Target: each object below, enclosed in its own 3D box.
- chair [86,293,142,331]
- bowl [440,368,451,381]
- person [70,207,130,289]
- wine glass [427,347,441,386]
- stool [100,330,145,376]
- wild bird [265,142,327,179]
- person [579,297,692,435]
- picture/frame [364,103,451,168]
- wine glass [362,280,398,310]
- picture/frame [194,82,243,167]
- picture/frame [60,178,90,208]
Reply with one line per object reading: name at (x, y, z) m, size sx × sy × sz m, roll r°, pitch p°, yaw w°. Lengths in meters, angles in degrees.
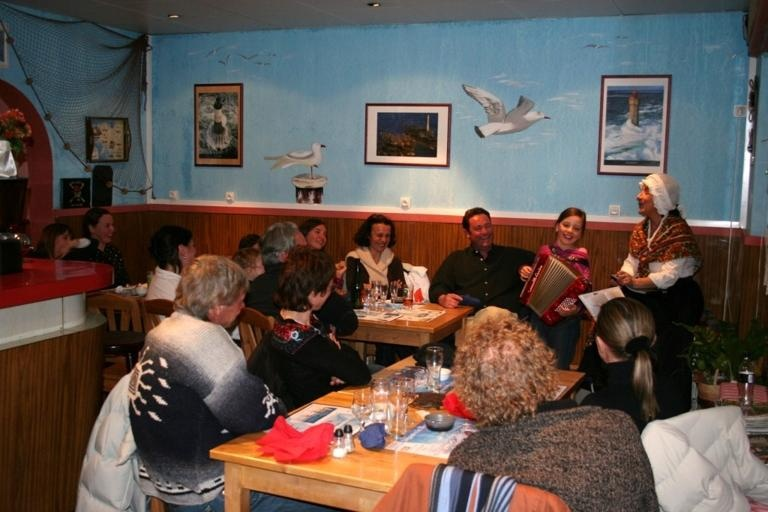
chair at (-2.202, 0.450, 4.773) m, size 0.308 × 0.439 × 0.316 m, roll 4°, pitch 11°, yaw 11°
bowl at (0.358, 0.688, 3.376) m, size 0.078 × 0.038 × 0.078 m, roll 0°, pitch -2°, yaw 0°
person at (-2.931, -0.083, 5.977) m, size 0.516 × 0.801 × 0.342 m, roll -5°, pitch 7°, yaw -23°
wine glass at (0.285, 0.617, 3.291) m, size 0.091 × 0.214 × 0.177 m, roll -1°, pitch 7°, yaw 3°
stool at (-2.054, 0.742, 4.719) m, size 0.355 × 0.395 × 0.357 m, roll 3°, pitch 9°, yaw 2°
wild bird at (-1.004, -1.141, 6.930) m, size 0.852 × 0.493 × 0.259 m, roll -2°, pitch -4°, yaw 6°
person at (1.300, 0.757, 3.040) m, size 0.529 × 1.088 × 0.411 m, roll -11°, pitch 30°, yaw 11°
picture/frame at (0.267, -1.350, 6.525) m, size 0.980 × 0.702 × 0.027 m, roll 3°, pitch 13°, yaw 9°
wine glass at (-0.065, 0.355, 5.153) m, size 0.183 × 0.319 × 0.317 m, roll -2°, pitch -6°, yaw 34°
picture/frame at (-2.042, -1.611, 7.206) m, size 0.714 × 1.011 × 0.028 m, roll 0°, pitch 7°, yaw 17°
picture/frame at (-3.537, -0.720, 6.653) m, size 0.115 × 0.338 × 0.350 m, roll 1°, pitch 5°, yaw 28°
